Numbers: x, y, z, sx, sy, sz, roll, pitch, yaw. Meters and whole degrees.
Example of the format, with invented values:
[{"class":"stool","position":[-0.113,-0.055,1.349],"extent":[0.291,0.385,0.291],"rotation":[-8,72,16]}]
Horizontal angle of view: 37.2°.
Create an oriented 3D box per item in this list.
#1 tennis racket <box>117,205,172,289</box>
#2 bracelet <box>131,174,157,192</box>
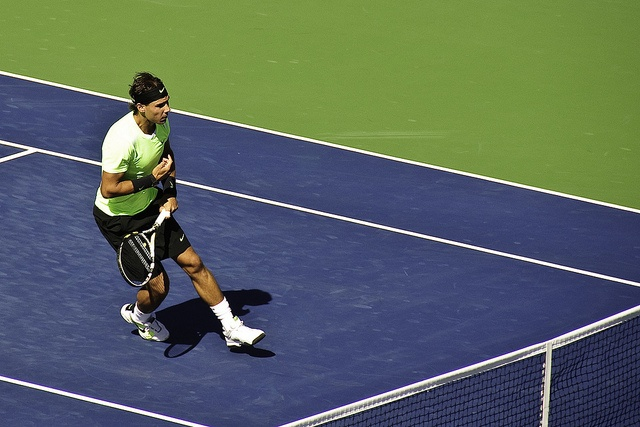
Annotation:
[{"class":"tennis racket","position":[-1.947,0.501,10.326],"extent":[0.515,1.091,0.586],"rotation":[6,37,-4]},{"class":"bracelet","position":[-1.880,-0.320,10.120],"extent":[0.264,0.217,0.137],"rotation":[-10,41,-23]}]
